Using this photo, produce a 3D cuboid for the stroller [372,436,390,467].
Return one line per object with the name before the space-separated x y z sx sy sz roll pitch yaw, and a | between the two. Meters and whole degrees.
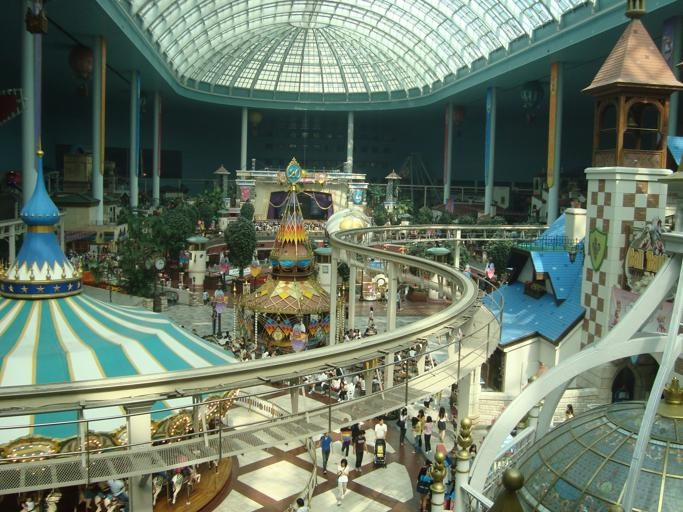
stroller | 1.473 7.635 25.420 0.535 1.010 0.976 1 2 3
